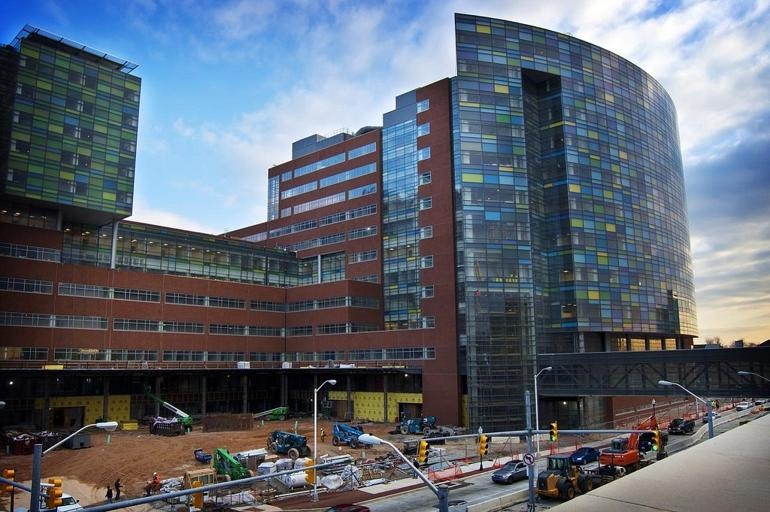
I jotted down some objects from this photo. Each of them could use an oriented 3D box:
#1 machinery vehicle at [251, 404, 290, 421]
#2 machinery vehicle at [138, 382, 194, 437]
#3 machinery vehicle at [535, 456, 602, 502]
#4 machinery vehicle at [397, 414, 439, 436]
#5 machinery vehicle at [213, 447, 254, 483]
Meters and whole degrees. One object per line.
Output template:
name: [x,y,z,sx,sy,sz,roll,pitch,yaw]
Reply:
machinery vehicle: [-22.076,31.110,125.296,8.917,2.663,2.595,0,-3,12]
machinery vehicle: [-37.274,28.751,110.048,7.717,8.030,8.143,-7,-13,31]
machinery vehicle: [21.186,26.539,77.035,5.175,3.896,9.431,7,-1,39]
machinery vehicle: [4.928,28.437,106.626,6.646,2.449,3.145,-2,-12,19]
machinery vehicle: [-19.435,26.245,79.733,2.207,2.754,6.641,0,13,-44]
